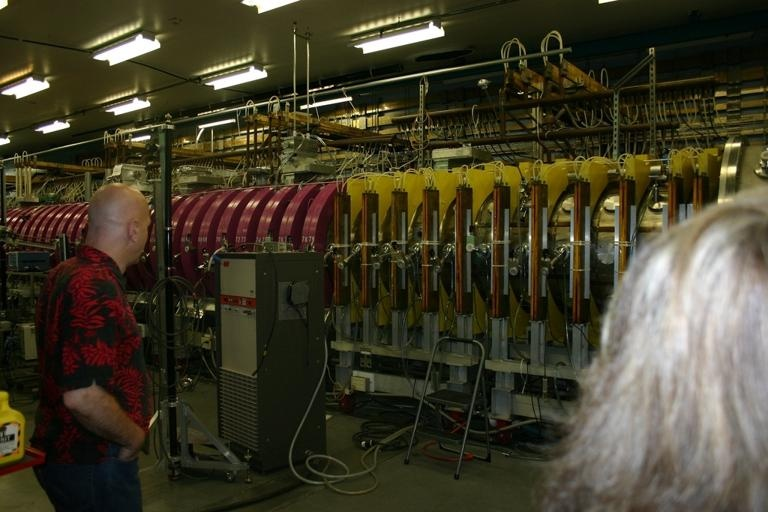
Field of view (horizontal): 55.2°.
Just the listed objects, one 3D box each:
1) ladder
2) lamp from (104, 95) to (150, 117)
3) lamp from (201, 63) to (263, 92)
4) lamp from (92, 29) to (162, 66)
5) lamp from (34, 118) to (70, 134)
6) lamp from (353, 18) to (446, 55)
[{"bbox_3d":[0.627,1.272,7.007,0.794,1.137,1.314,1,13,7],"label":"ladder"},{"bbox_3d":[-4.911,-2.913,14.220,0.799,0.327,1.522,-12,17,-37],"label":"lamp"},{"bbox_3d":[-2.449,-2.997,12.252,1.025,0.359,1.396,-14,19,-43],"label":"lamp"},{"bbox_3d":[-3.714,-3.035,10.734,0.891,0.131,0.466,-11,-6,35],"label":"lamp"},{"bbox_3d":[-7.052,-2.756,15.646,0.682,0.373,1.848,-7,15,-24],"label":"lamp"},{"bbox_3d":[0.229,-3.050,10.231,1.252,0.335,0.413,11,18,39],"label":"lamp"}]
